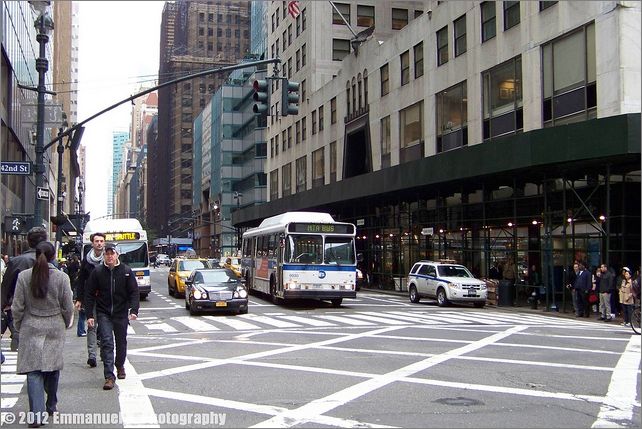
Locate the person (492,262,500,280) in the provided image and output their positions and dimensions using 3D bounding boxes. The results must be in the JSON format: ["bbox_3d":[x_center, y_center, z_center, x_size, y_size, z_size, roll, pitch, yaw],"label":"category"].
[{"bbox_3d":[9.027,2.937,35.114,0.507,0.828,1.057,1,0,27],"label":"person"}]

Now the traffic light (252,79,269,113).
[{"bbox_3d":[-1.941,-3.907,21.789,0.482,1.371,2.078,0,0,-5],"label":"traffic light"}]

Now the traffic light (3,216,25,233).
[{"bbox_3d":[-10.406,0.338,22.800,0.563,0.663,0.632,-2,-4,18],"label":"traffic light"}]

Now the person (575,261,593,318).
[{"bbox_3d":[10.631,3.081,27.300,0.706,2.219,0.672,1,1,22],"label":"person"}]

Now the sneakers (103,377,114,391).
[{"bbox_3d":[-4.604,3.685,14.589,0.208,0.254,0.224,0,1,-20],"label":"sneakers"}]

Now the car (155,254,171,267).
[{"bbox_3d":[-24.169,6.902,103.121,1.298,1.396,3.127,2,-11,-15],"label":"car"}]

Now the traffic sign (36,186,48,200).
[{"bbox_3d":[-9.253,-0.718,22.334,0.058,0.447,0.451,-16,-16,33],"label":"traffic sign"}]

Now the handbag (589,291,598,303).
[{"bbox_3d":[11.025,3.364,27.306,0.093,0.404,0.396,-10,1,41],"label":"handbag"}]

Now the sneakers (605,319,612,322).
[{"bbox_3d":[11.119,4.123,26.089,0.239,0.114,0.091,0,0,-14],"label":"sneakers"}]

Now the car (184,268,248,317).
[{"bbox_3d":[-4.107,3.099,26.660,2.312,1.718,2.075,1,0,-11],"label":"car"}]

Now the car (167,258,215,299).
[{"bbox_3d":[-7.031,3.183,34.904,1.566,1.484,3.064,2,-9,-14],"label":"car"}]

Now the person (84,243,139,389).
[{"bbox_3d":[-4.647,2.231,14.985,1.177,3.118,0.855,1,1,15],"label":"person"}]

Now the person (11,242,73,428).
[{"bbox_3d":[-5.383,2.330,13.006,1.067,3.467,0.729,0,1,-25],"label":"person"}]

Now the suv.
[{"bbox_3d":[5.885,3.246,32.089,1.703,1.646,3.623,3,-8,-23],"label":"suv"}]

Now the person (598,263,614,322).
[{"bbox_3d":[11.084,3.047,26.221,0.540,2.225,1.321,1,1,23],"label":"person"}]
